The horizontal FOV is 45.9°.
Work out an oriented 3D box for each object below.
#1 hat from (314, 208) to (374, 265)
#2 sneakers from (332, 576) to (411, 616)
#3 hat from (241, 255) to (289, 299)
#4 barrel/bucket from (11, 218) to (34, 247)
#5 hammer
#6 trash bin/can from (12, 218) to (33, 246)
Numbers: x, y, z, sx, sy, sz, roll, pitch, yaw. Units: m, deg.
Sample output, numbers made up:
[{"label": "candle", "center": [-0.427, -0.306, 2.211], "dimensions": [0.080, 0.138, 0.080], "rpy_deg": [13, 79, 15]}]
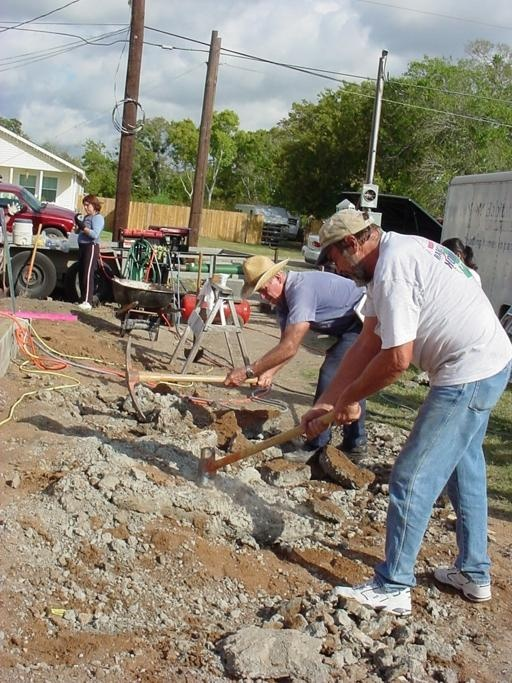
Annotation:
[{"label": "hat", "center": [0.381, -0.477, 2.761], "dimensions": [0.254, 0.123, 0.178], "rpy_deg": [-29, 7, 17]}, {"label": "sneakers", "center": [0.546, 1.127, 2.751], "dimensions": [0.418, 0.163, 0.130], "rpy_deg": [15, -17, -2]}, {"label": "hat", "center": [0.046, -0.492, 4.667], "dimensions": [0.311, 0.343, 0.478], "rpy_deg": [8, 6, -2]}, {"label": "barrel/bucket", "center": [-3.619, -1.675, 9.400], "dimensions": [0.427, 0.392, 0.407], "rpy_deg": [1, -1, 0]}, {"label": "hammer", "center": [0.163, 0.737, 4.357], "dimensions": [1.222, 0.333, 0.273], "rpy_deg": [-21, -25, 14]}, {"label": "trash bin/can", "center": [-3.604, -1.699, 9.453], "dimensions": [0.420, 0.376, 0.397], "rpy_deg": [1, 0, 4]}]
